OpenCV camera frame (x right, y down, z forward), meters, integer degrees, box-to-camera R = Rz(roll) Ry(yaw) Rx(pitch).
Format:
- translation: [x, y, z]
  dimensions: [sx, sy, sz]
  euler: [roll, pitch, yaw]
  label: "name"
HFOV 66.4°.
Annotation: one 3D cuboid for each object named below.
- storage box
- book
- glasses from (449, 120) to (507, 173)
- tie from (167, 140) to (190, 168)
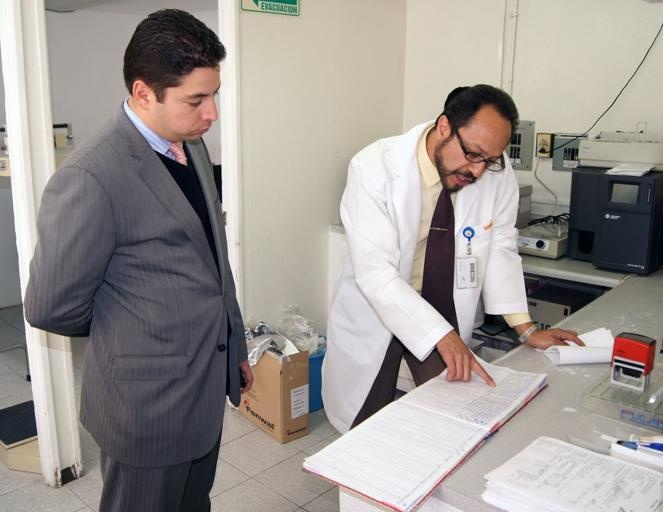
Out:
- translation: [-0.277, 0.881, 2.926]
  dimensions: [0.186, 0.544, 0.550]
  euler: [-17, 48, 16]
  label: "storage box"
- translation: [0.234, 0.442, 1.284]
  dimensions: [0.294, 0.041, 0.601]
  euler: [13, 22, 41]
  label: "book"
- translation: [0.474, -0.347, 1.693]
  dimensions: [0.155, 0.048, 0.171]
  euler: [2, 55, -46]
  label: "glasses"
- translation: [-0.460, -0.312, 1.526]
  dimensions: [0.026, 0.071, 0.066]
  euler: [-24, -45, 38]
  label: "tie"
